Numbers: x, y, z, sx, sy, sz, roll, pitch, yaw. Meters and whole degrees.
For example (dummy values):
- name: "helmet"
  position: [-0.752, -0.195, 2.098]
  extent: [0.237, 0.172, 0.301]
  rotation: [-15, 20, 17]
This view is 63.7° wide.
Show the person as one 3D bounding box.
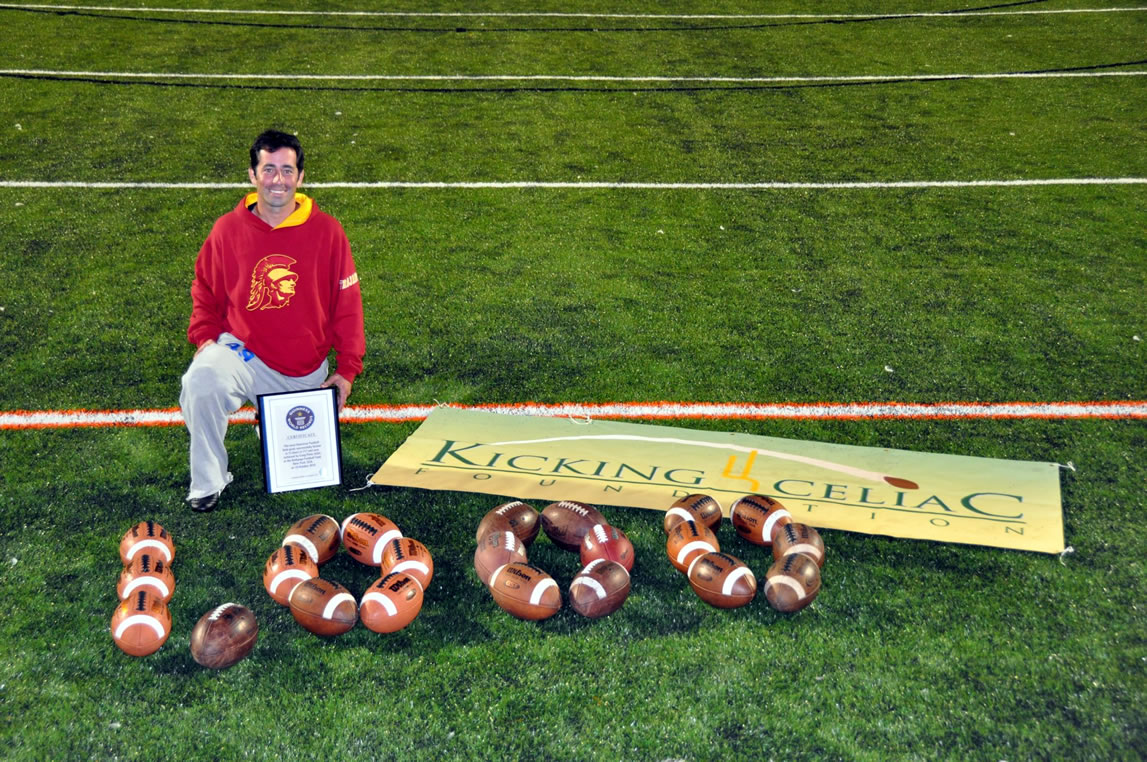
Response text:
- name: "person"
  position: [-1.947, -0.368, 6.099]
  extent: [0.945, 2.289, 1.250]
  rotation: [-1, 7, -14]
